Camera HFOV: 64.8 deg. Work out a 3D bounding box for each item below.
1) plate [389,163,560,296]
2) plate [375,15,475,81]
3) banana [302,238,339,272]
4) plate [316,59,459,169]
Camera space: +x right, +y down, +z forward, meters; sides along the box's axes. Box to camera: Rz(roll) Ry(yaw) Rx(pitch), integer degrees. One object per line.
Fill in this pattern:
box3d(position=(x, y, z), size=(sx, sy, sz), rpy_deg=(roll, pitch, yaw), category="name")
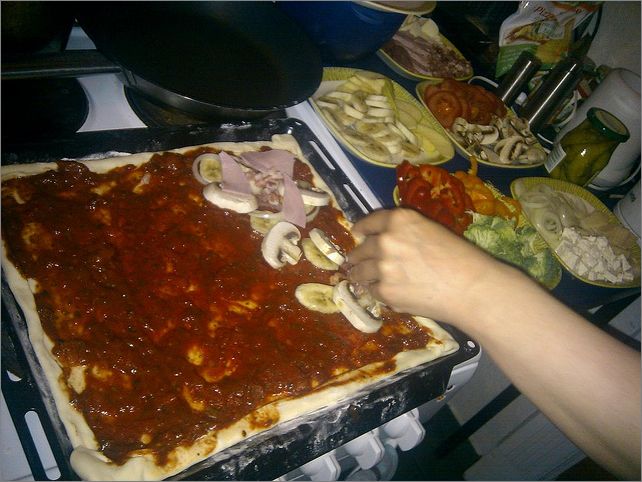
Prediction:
box3d(position=(1.041, 0.008, 4.026), size=(1.208, 0.242, 1.083), rpy_deg=(45, 22, 30), category="plate")
box3d(position=(1.019, -1.901, 5.099), size=(0.987, 0.222, 0.997), rpy_deg=(41, 45, 13), category="plate")
box3d(position=(-0.030, 0.088, 3.127), size=(0.210, 0.025, 0.201), rpy_deg=(-18, 65, -42), category="banana")
box3d(position=(0.455, -1.079, 4.337), size=(1.065, 0.211, 1.132), rpy_deg=(-8, 53, -49), category="plate")
